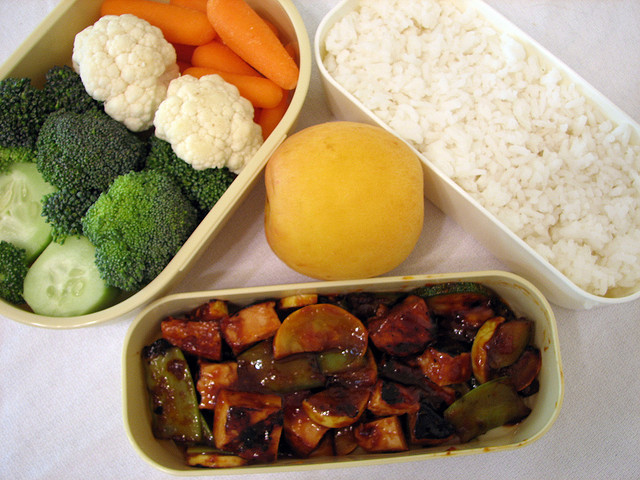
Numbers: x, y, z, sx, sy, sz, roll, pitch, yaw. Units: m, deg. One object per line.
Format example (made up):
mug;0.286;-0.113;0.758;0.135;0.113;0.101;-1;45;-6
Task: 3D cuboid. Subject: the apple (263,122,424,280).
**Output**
apple;0.059;-0.108;1.627;0.402;0.176;0.398;5;77;8

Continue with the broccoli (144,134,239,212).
broccoli;-0.351;-0.157;1.739;0.226;0.096;0.173;41;75;-5

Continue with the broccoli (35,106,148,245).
broccoli;-0.592;-0.183;1.760;0.269;0.181;0.332;15;76;10

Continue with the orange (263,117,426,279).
orange;0.055;-0.060;1.736;0.401;0.377;0.392;-13;78;-5

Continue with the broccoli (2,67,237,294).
broccoli;-0.538;-0.132;1.864;0.580;0.163;0.572;-45;74;-4
